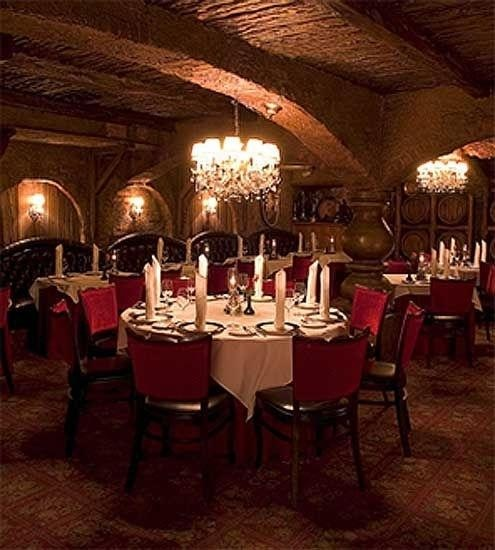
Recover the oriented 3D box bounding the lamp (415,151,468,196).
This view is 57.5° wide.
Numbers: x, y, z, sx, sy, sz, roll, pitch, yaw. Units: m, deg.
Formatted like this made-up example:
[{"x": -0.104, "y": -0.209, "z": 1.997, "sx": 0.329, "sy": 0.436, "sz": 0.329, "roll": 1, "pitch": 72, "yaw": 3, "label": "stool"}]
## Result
[{"x": 3.996, "y": -2.026, "z": 9.148, "sx": 0.642, "sy": 0.666, "sz": 0.709, "roll": -5, "pitch": 9, "yaw": -3, "label": "lamp"}]
